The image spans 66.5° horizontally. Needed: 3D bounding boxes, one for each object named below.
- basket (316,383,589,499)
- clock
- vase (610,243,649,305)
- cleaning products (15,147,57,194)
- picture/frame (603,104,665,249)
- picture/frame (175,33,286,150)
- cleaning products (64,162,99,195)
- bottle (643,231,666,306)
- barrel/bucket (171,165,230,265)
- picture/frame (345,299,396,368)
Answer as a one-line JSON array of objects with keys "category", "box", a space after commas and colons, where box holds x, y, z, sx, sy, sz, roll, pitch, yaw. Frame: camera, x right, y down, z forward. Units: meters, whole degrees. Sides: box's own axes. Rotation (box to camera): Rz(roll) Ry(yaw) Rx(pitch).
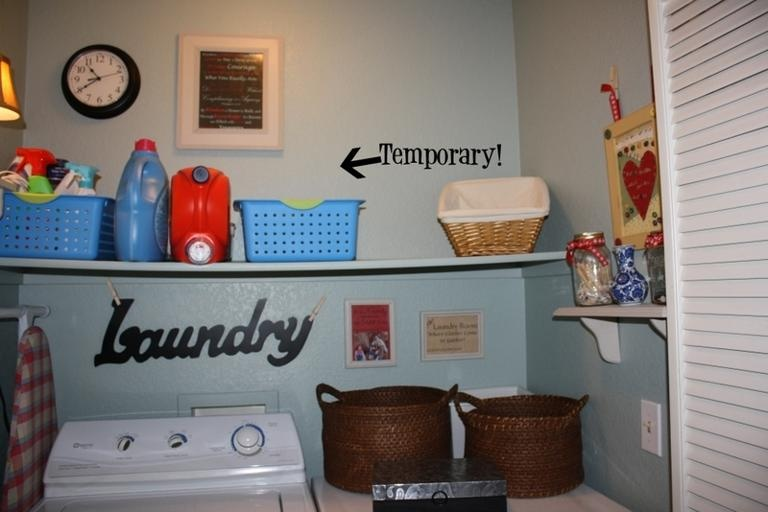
[{"category": "basket", "box": [0.275, 0.720, 2.355, 0.839, 0.322, 0.493, 0, -9, -1]}, {"category": "clock", "box": [-1.264, -0.772, 2.593, 0.321, 0.341, 0.077, 0, 0, -5]}, {"category": "vase", "box": [0.858, 0.070, 2.064, 0.127, 0.212, 0.125, -5, -3, 21]}, {"category": "cleaning products", "box": [-1.337, -0.328, 2.251, 0.138, 0.185, 0.159, -2, 2, -30]}, {"category": "picture/frame", "box": [0.904, -0.282, 2.133, 0.058, 0.508, 0.253, -1, 1, -15]}, {"category": "picture/frame", "box": [-0.716, -0.733, 2.659, 0.512, 0.566, 0.039, 0, -5, -7]}, {"category": "cleaning products", "box": [-1.212, -0.309, 2.353, 0.107, 0.125, 0.126, -2, 2, -37]}, {"category": "bottle", "box": [0.905, 0.039, 1.956, 0.049, 0.244, 0.177, -1, 1, 6]}, {"category": "barrel/bucket", "box": [-0.721, -0.156, 2.284, 0.231, 0.374, 0.104, -1, 1, -7]}, {"category": "picture/frame", "box": [-0.068, 0.362, 2.657, 0.296, 0.380, 0.028, 0, -6, -9]}]
